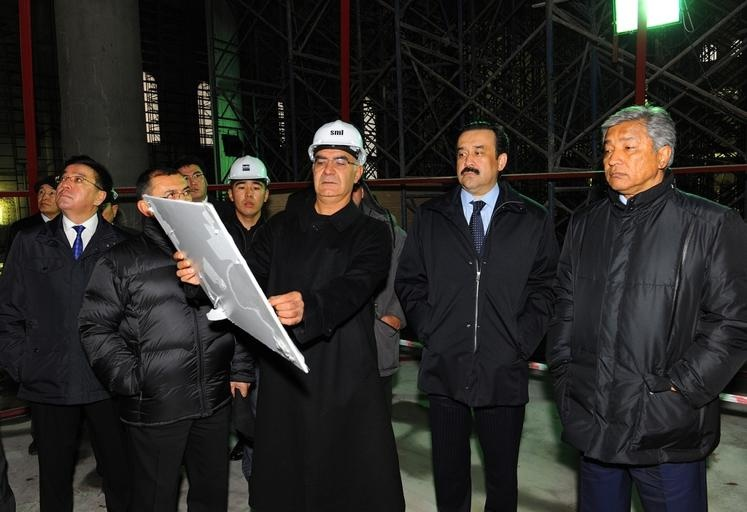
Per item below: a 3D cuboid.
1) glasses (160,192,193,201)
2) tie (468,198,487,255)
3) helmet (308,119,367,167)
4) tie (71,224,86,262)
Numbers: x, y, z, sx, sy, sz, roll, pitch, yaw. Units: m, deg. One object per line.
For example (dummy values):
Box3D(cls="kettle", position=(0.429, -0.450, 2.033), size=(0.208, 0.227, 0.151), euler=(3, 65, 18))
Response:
Box3D(cls="glasses", position=(-1.308, -0.389, 3.563), size=(0.163, 0.048, 0.164), euler=(-6, 1, 28))
Box3D(cls="tie", position=(0.762, -0.210, 3.904), size=(0.119, 0.379, 0.096), euler=(0, -17, 7))
Box3D(cls="helmet", position=(-0.262, -0.796, 3.774), size=(0.413, 0.262, 0.506), euler=(3, 0, -17))
Box3D(cls="tie", position=(-2.307, -0.094, 4.217), size=(0.096, 0.283, 0.022), euler=(7, -23, -19))
